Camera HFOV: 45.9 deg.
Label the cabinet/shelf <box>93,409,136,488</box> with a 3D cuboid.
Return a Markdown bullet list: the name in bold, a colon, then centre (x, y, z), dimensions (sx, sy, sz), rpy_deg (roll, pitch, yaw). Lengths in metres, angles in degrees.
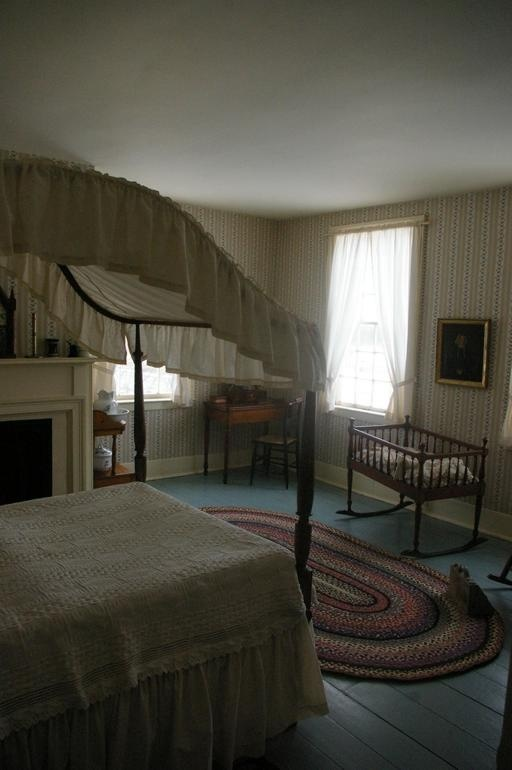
- **cabinet/shelf**: centre (-1.266, 0.555, 5.306), dimensions (0.393, 0.734, 0.618), rpy_deg (-3, 6, -20)

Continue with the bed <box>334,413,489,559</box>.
- **bed**: centre (1.305, 0.788, 5.088), dimensions (0.830, 0.953, 1.140), rpy_deg (-2, 9, -25)

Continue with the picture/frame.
- **picture/frame**: centre (1.768, -0.274, 5.119), dimensions (0.071, 0.690, 0.518), rpy_deg (-4, 9, -31)
